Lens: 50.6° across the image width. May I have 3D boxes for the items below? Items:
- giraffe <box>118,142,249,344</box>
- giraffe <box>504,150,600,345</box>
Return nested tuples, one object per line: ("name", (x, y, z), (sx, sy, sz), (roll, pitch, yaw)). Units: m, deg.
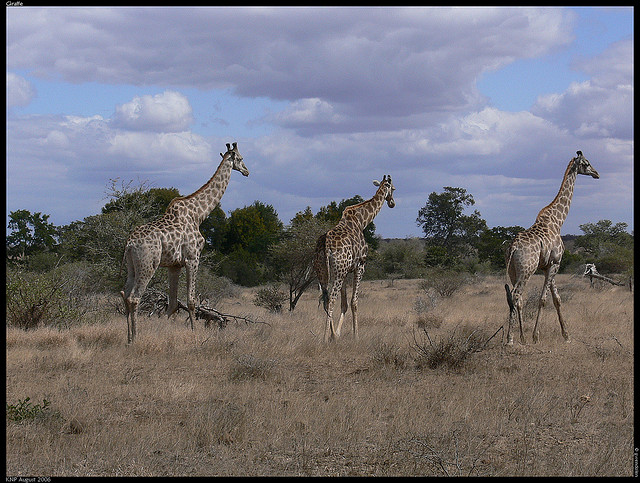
("giraffe", (-3.289, 0.081, 15.709), (2.406, 4.510, 3.046), (-1, 12, -4))
("giraffe", (5.250, 0.147, 15.827), (1.487, 4.528, 3.246), (7, 14, 33))
